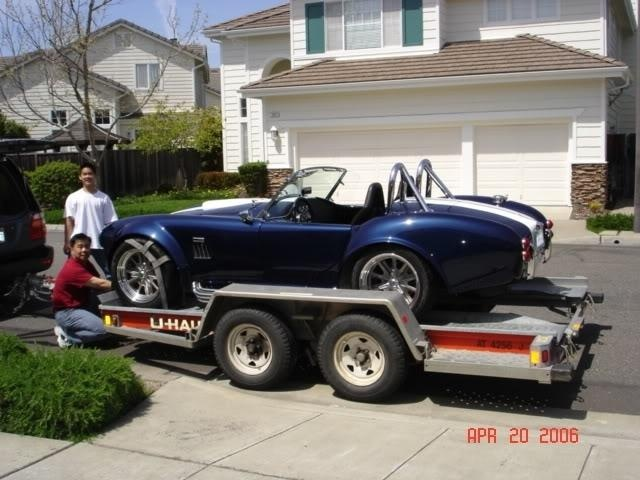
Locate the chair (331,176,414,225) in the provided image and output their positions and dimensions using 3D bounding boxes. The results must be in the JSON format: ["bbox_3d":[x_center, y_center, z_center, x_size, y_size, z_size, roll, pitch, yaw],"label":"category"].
[{"bbox_3d":[0.523,-0.441,6.360,0.794,0.765,0.595,2,3,20],"label":"chair"}]

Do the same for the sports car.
[{"bbox_3d":[0.019,0.043,6.265,4.243,1.349,2.275,2,4,18],"label":"sports car"}]
